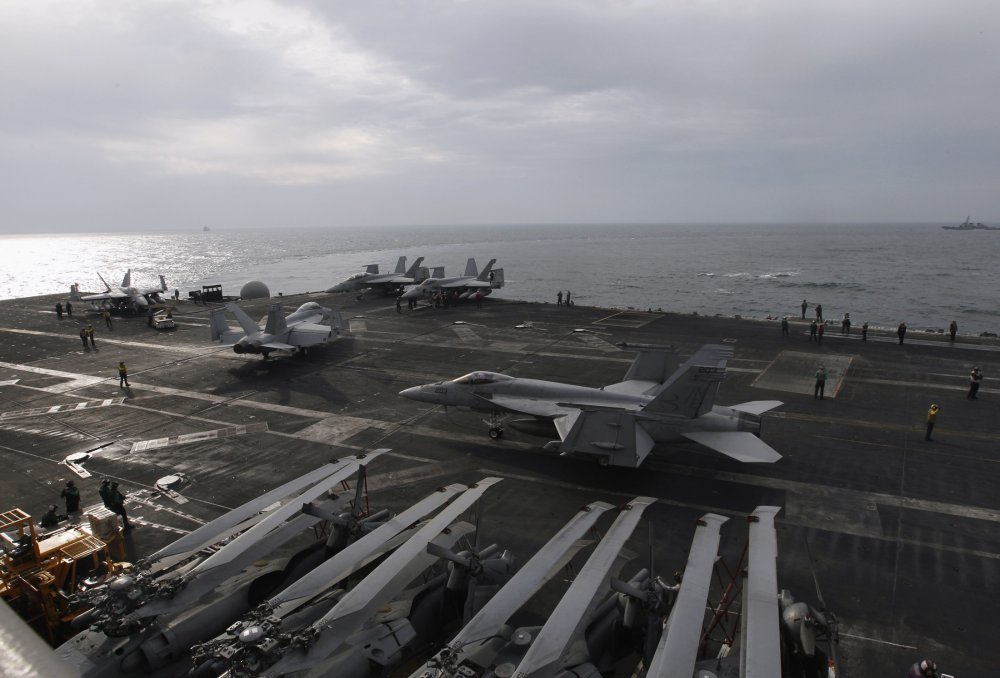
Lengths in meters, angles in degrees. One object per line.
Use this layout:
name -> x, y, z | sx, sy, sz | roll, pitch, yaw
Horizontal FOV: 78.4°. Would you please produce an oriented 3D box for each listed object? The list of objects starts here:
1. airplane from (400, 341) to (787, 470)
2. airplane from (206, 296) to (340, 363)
airplane -> 4.379, 3.358, 28.745 | 11.754, 2.268, 8.750 | 4, 13, 22
airplane -> -16.158, -0.430, 46.083 | 6.736, 2.241, 6.771 | 9, 19, 18
